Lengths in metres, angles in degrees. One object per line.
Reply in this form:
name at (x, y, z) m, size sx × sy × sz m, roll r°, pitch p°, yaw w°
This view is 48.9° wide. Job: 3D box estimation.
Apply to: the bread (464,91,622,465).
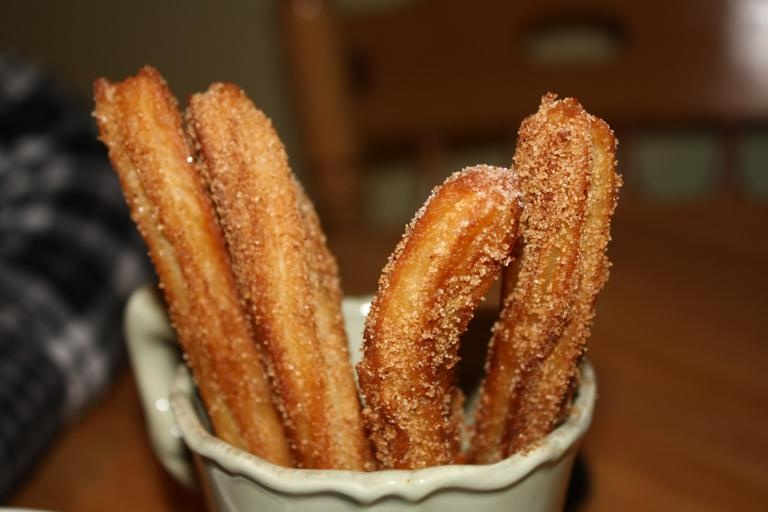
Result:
bread at (0.163, 0.090, 1.097) m, size 0.107 × 0.559 × 0.134 m, roll 6°, pitch 17°, yaw -12°
